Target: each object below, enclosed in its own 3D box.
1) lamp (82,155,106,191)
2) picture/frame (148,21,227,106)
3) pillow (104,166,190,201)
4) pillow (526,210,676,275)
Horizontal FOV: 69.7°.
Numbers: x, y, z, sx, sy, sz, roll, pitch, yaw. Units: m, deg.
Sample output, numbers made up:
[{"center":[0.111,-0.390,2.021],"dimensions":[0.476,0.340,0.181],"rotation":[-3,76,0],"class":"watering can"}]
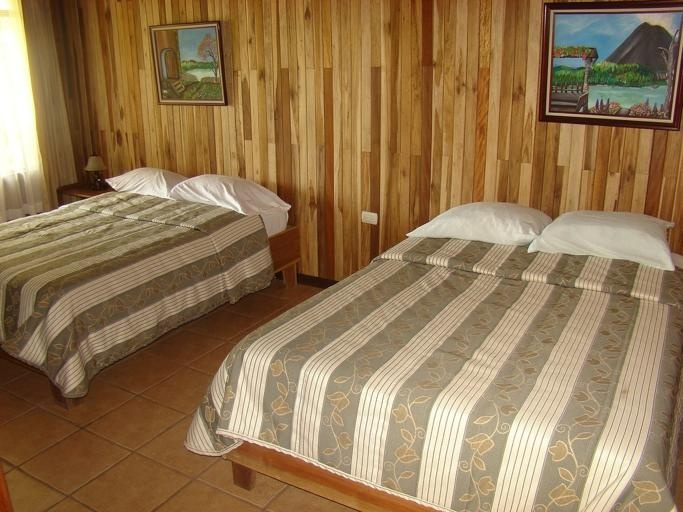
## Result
[{"center":[-2.492,-0.872,4.943],"dimensions":[0.187,0.316,0.500],"rotation":[-12,25,-24],"class":"lamp"},{"center":[-1.365,-1.710,4.352],"dimensions":[0.026,0.673,0.783],"rotation":[19,30,27],"class":"picture/frame"},{"center":[-1.768,-0.685,4.420],"dimensions":[0.489,0.142,0.418],"rotation":[15,32,25],"class":"pillow"},{"center":[1.532,-0.111,2.867],"dimensions":[0.507,0.131,0.499],"rotation":[11,30,25],"class":"pillow"}]
